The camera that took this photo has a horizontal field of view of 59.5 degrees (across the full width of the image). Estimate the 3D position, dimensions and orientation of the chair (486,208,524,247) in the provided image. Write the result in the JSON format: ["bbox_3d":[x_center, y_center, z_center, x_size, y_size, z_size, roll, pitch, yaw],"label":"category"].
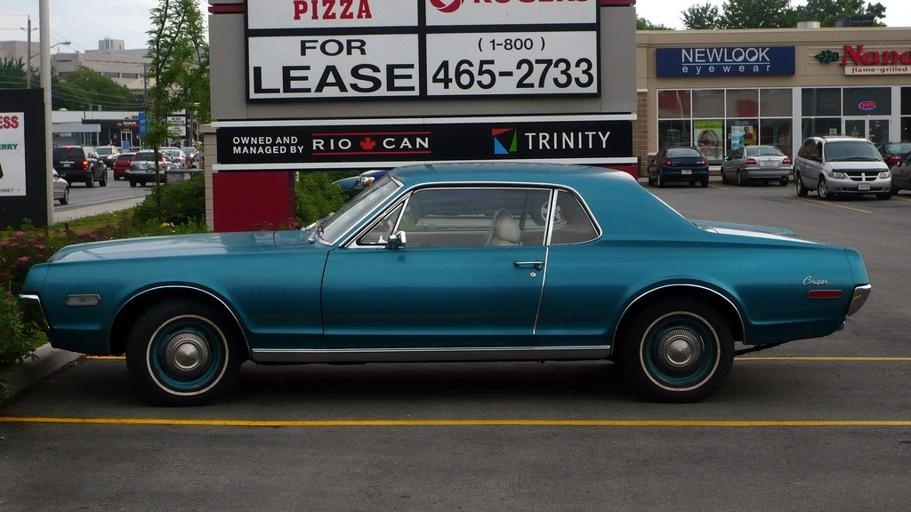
[{"bbox_3d":[0.643,-0.176,9.859,0.337,0.647,0.434,-2,-23,2],"label":"chair"}]
